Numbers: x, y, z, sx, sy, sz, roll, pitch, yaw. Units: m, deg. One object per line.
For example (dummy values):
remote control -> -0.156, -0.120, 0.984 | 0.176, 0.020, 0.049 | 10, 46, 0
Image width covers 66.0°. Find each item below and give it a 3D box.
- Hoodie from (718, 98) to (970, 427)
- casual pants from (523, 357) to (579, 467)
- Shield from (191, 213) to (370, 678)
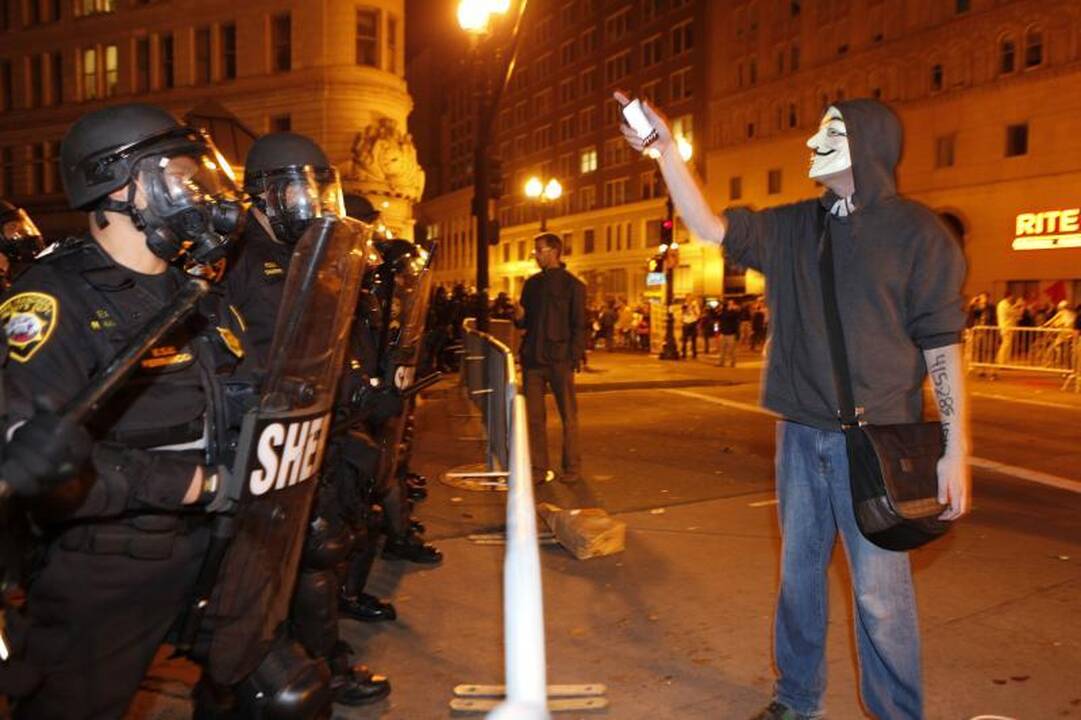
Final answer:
Hoodie -> 1.432, -0.478, 3.954 | 1.047, 1.540, 0.318 | -1, 3, 20
casual pants -> 0.122, 0.567, 9.057 | 0.585, 1.172, 1.012 | -2, 2, 1
Shield -> -0.935, 0.313, 3.168 | 0.406, 1.733, 0.604 | 1, 4, 43
